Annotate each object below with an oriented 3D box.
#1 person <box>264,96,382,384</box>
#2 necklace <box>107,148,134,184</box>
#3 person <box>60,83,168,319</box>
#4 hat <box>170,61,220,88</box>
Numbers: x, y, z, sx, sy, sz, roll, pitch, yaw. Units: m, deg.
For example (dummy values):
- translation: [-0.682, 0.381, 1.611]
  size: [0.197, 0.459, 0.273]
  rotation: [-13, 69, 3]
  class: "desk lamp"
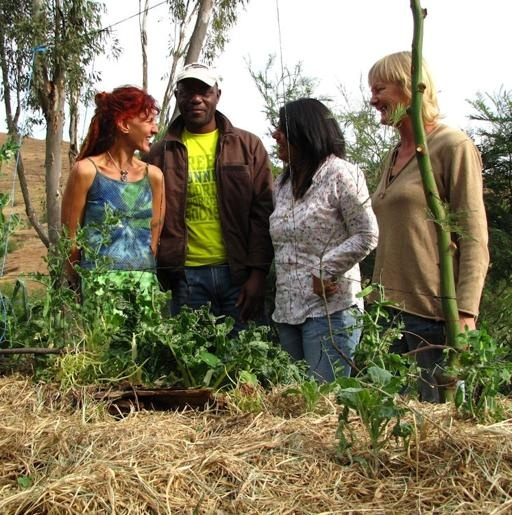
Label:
- translation: [0.312, -0.089, 2.275]
  size: [0.493, 1.388, 1.293]
  rotation: [-1, 6, 2]
  class: "person"
- translation: [-0.727, -0.465, 2.575]
  size: [0.075, 0.217, 0.033]
  rotation: [-24, -9, -47]
  class: "necklace"
- translation: [-0.714, -0.349, 2.380]
  size: [0.524, 1.041, 0.836]
  rotation: [-2, 6, -10]
  class: "person"
- translation: [-0.343, -1.070, 2.855]
  size: [0.247, 0.147, 0.163]
  rotation: [-2, 6, -11]
  class: "hat"
